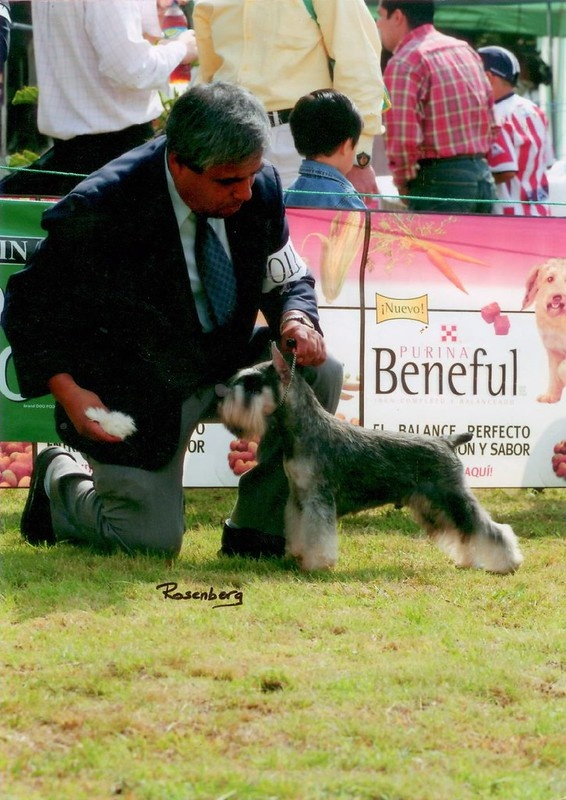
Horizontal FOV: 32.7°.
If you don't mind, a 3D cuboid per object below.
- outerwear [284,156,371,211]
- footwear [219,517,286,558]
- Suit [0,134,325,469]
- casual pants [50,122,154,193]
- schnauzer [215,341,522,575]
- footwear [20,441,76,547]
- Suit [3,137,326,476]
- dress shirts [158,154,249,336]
[{"bbox_3d":[0.189,-0.944,4.307,0.469,0.287,0.242,9,16,16],"label":"outerwear"},{"bbox_3d":[-0.112,0.498,3.346,0.278,0.108,0.091,-2,-8,23],"label":"footwear"},{"bbox_3d":[-0.398,-0.294,3.253,1.066,1.063,0.735,-27,52,-35],"label":"Suit"},{"bbox_3d":[-0.869,-1.194,4.590,0.429,0.105,0.433,-16,20,28],"label":"casual pants"},{"bbox_3d":[0.291,0.236,3.232,1.059,0.626,0.333,7,-1,-16],"label":"schnauzer"},{"bbox_3d":[-0.859,0.346,3.588,0.179,0.383,0.136,7,-4,-30],"label":"footwear"},{"bbox_3d":[-0.393,-0.281,3.248,1.046,1.072,0.750,-29,52,-33],"label":"Suit"},{"bbox_3d":[-0.255,-0.476,3.115,0.282,0.471,0.103,-20,25,-31],"label":"dress shirts"}]
